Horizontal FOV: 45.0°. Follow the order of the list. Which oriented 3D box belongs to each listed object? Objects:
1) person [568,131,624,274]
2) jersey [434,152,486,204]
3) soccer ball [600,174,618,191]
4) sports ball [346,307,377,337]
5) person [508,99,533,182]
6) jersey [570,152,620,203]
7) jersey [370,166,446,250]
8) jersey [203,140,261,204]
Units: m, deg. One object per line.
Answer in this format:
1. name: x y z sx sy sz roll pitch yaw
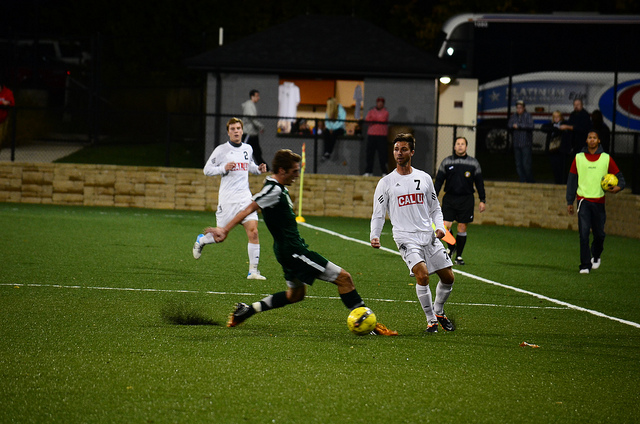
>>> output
1. person: 5.979 -0.199 16.927 1.062 3.182 0.802 3 10 9
2. jersey: 3.264 -0.796 17.896 1.200 1.269 0.517 3 1 16
3. soccer ball: 6.205 -0.660 16.541 0.265 0.326 0.356 6 -3 4
4. sports ball: 0.636 1.659 12.134 0.436 0.491 0.548 -10 -6 21
5. person: 6.762 -2.360 25.888 0.820 2.667 1.078 4 11 15
6. jersey: 6.029 -0.845 16.960 0.940 1.202 0.615 5 24 24
7. jersey: 1.443 0.051 12.364 1.198 1.668 0.863 -3 -9 -11
8. jersey: -1.754 -0.807 15.780 1.018 1.166 0.691 1 11 -6
